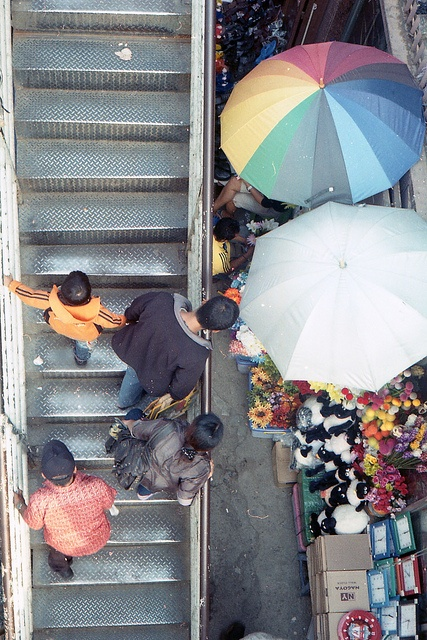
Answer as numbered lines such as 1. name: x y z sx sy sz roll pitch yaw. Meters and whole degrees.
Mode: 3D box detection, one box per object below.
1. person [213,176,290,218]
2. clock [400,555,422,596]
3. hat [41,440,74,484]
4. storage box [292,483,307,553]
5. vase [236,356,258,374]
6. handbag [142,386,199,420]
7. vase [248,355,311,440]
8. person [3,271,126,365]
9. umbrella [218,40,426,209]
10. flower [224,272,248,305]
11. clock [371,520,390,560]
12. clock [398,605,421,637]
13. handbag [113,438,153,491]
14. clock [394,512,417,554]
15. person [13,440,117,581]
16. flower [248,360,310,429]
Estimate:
1. person: 0.379 -1.170 6.327 0.545 0.290 0.811 -4 18 -36
2. clock: 1.485 1.930 4.954 0.051 0.327 0.277 14 -25 -22
3. hat: -0.978 0.907 4.146 0.193 0.277 0.269 -5 -8 -13
4. storage box: 0.773 1.820 6.017 0.080 0.592 0.256 -8 -8 5
5. vase: 0.297 0.416 6.160 0.234 0.135 0.135 3 -13 -1
6. handbag: -0.290 0.625 4.729 0.336 0.221 0.114 -26 -40 10
7. vase: 0.552 0.674 5.898 0.626 0.670 0.244 0 6 2
8. person: -0.946 -0.078 4.349 0.678 0.503 0.959 0 -9 -37
9. umbrella: 0.955 -1.582 5.202 1.707 1.366 0.534 -6 17 -2
10. flower: 0.198 -0.294 5.788 0.254 0.296 0.082 -5 -41 14
11. clock: 1.350 1.788 5.320 0.034 0.310 0.262 27 -35 -23
12. clock: 1.441 2.237 4.901 0.057 0.277 0.192 -3 -9 -29
13. handbag: -0.552 0.942 4.250 0.254 0.303 0.145 19 7 32
14. clock: 1.498 1.671 5.134 0.040 0.313 0.300 10 -25 -25
15. person: -1.019 1.369 4.642 0.728 0.617 1.301 -10 -41 -20
16. flower: 0.550 0.694 6.115 0.714 0.586 0.194 -5 5 3
